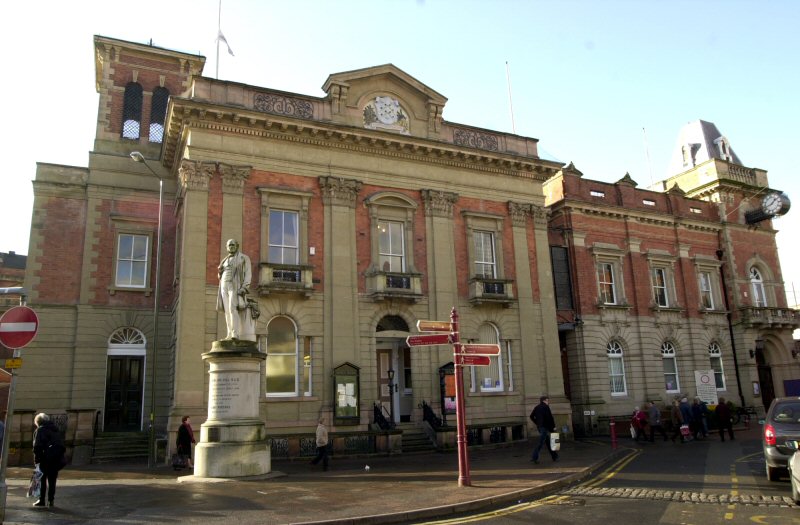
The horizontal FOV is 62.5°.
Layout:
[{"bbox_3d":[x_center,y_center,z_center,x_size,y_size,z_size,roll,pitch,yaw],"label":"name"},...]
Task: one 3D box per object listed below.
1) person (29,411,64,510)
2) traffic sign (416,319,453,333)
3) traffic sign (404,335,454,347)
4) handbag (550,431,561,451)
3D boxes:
[{"bbox_3d":[-11.343,6.317,21.124,0.860,2.753,1.285,3,-8,-27],"label":"person"},{"bbox_3d":[1.265,2.279,23.570,1.150,0.407,1.632,-1,-6,7],"label":"traffic sign"},{"bbox_3d":[1.198,2.805,23.954,1.477,0.356,1.732,-2,-6,16],"label":"traffic sign"},{"bbox_3d":[6.438,7.438,27.409,0.263,0.828,0.693,-4,-7,26],"label":"handbag"}]
